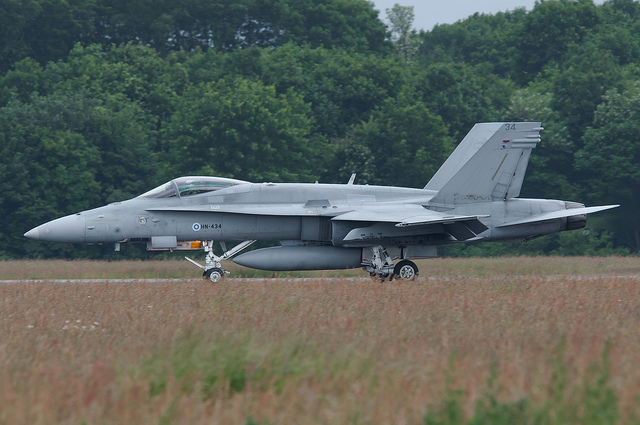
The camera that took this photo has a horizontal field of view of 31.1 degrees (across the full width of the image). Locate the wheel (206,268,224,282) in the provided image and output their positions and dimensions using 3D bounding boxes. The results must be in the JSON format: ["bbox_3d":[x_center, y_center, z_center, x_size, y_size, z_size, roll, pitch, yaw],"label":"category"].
[{"bbox_3d":[-5.176,3.076,57.368,0.967,0.540,0.488,-4,16,-19],"label":"wheel"}]

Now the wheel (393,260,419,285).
[{"bbox_3d":[4.410,2.889,57.934,1.276,0.873,0.955,-1,14,-7],"label":"wheel"}]
